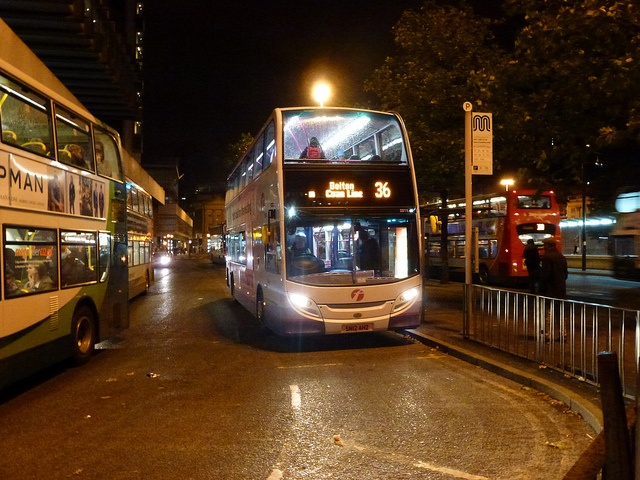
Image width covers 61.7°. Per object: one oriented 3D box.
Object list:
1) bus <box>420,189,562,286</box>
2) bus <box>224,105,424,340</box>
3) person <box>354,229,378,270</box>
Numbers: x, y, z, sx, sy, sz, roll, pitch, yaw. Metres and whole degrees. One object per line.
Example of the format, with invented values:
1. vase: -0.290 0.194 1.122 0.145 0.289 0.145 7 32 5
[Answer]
1. bus: 8.559 -0.083 29.756 2.443 4.525 10.958 -1 -1 -13
2. bus: -0.489 -0.518 12.743 2.833 5.113 5.558 -3 2 -44
3. person: 1.049 0.182 11.606 0.518 0.877 0.586 -1 -13 23
